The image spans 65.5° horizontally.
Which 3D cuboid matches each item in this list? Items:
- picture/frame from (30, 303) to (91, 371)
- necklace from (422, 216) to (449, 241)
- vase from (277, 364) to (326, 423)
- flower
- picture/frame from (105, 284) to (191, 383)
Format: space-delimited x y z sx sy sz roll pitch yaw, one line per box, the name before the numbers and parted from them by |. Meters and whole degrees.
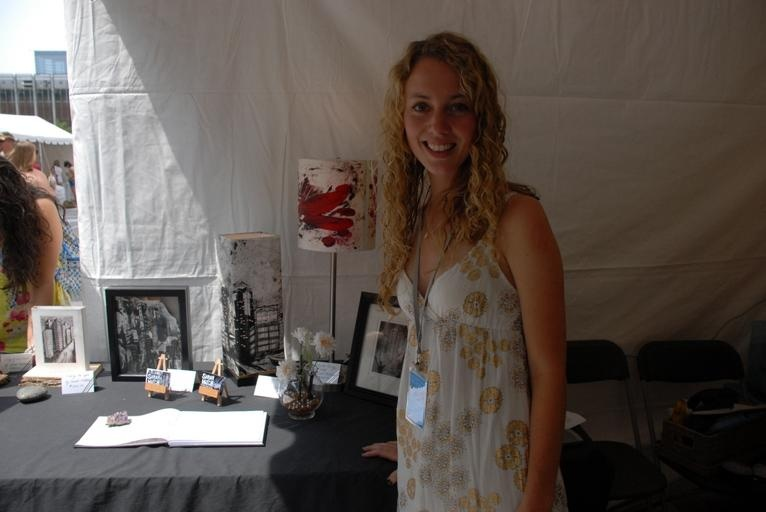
picture/frame | -1.611 0.408 2.962 0.295 0.418 0.092 1 9 0
necklace | 0.175 -0.106 2.140 0.060 0.026 0.087 11 -26 33
vase | -0.372 0.625 2.730 0.220 0.276 0.227 1 -9 -1
flower | -0.381 0.548 2.808 0.243 0.437 0.289 13 -15 -35
picture/frame | -1.163 0.387 2.959 0.414 0.513 0.039 -2 2 -1
